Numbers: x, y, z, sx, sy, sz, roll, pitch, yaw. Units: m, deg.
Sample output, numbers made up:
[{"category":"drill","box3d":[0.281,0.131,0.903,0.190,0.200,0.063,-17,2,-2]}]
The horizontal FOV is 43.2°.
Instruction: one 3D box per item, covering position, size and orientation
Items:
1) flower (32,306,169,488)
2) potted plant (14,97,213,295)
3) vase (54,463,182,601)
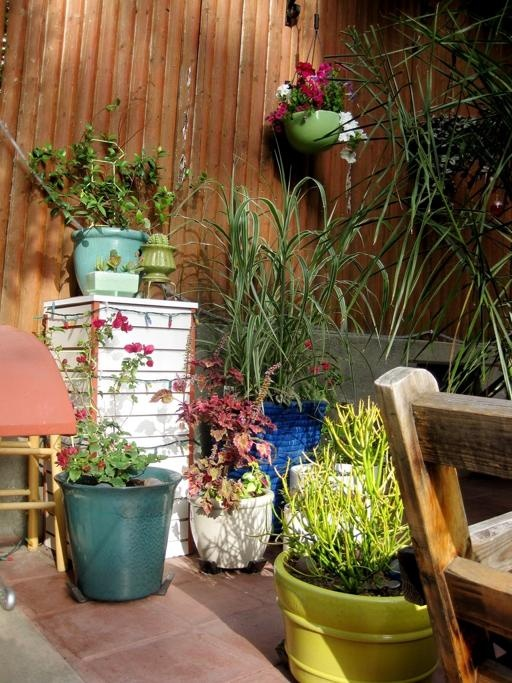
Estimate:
[{"category":"flower","box3d":[-0.553,0.184,2.291,0.412,0.615,0.747,2,-1,-19]},{"category":"potted plant","box3d":[-0.587,-0.642,2.830,0.457,0.864,0.906,1,-1,39]},{"category":"vase","box3d":[-0.443,0.628,2.081,0.391,0.407,0.296,2,-1,-16]}]
